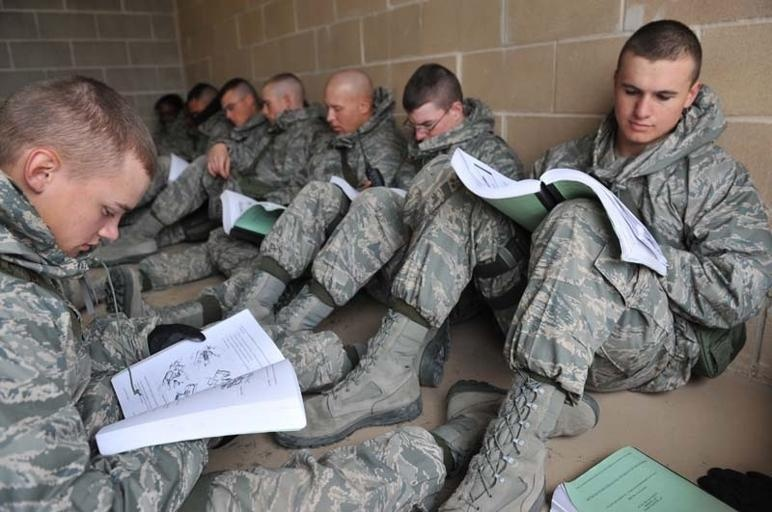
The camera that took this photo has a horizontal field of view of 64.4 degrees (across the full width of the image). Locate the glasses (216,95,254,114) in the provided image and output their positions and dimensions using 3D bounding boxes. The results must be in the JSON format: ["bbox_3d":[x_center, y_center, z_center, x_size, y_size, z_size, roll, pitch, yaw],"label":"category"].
[{"bbox_3d":[-1.098,-1.109,4.513,0.171,0.091,0.128,-8,7,-44],"label":"glasses"}]

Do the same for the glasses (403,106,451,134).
[{"bbox_3d":[0.199,-0.648,2.989,0.207,0.107,0.097,15,26,42],"label":"glasses"}]
